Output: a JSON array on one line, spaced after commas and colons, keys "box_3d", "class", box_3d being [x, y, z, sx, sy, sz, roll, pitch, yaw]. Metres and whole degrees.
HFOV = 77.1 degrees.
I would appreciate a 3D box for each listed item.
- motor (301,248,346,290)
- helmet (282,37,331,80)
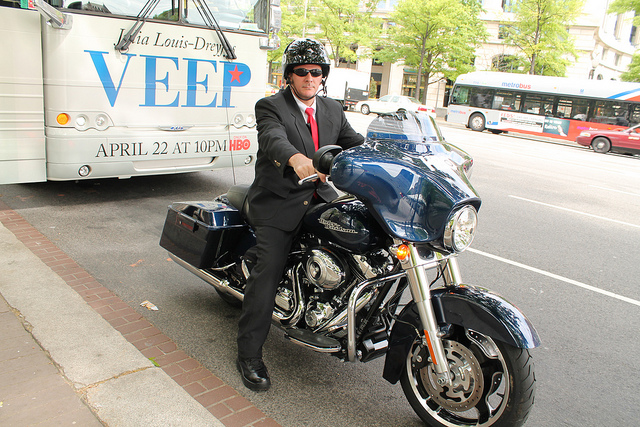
[{"box_3d": [0.013, 0.408, 3.086, 0.342, 0.246, 0.105, 38, 35, 24], "class": "motor"}, {"box_3d": [-0.121, -1.237, 3.268, 0.289, 0.269, 0.348, -2, 2, -18], "class": "helmet"}]
